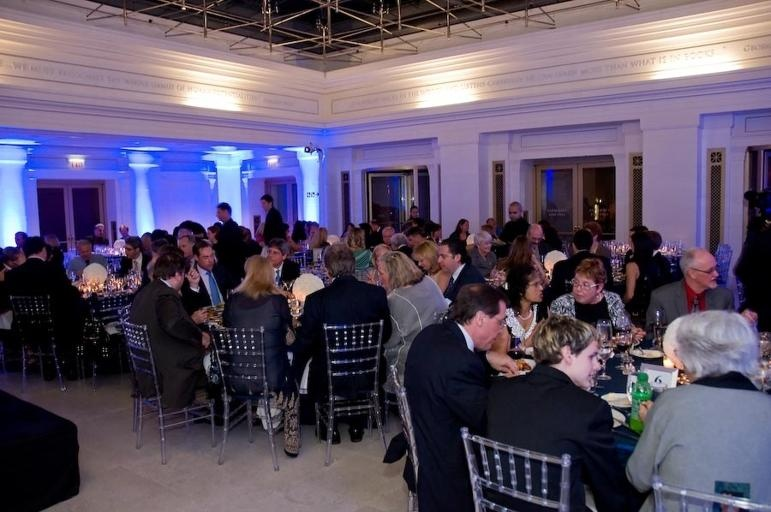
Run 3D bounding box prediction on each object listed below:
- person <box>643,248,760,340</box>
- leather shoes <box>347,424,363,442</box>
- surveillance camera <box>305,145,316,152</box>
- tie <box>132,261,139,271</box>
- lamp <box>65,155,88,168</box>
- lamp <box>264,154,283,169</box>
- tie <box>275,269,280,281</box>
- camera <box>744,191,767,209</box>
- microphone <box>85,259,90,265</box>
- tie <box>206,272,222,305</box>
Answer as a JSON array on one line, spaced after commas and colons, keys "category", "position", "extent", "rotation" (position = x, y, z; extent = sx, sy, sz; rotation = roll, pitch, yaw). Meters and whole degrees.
[{"category": "person", "position": [2.677, 0.584, 4.981], "extent": [0.794, 1.256, 0.633], "rotation": [-2, 4, 8]}, {"category": "leather shoes", "position": [-0.280, 1.710, 5.479], "extent": [0.169, 0.172, 0.101], "rotation": [-2, 0, -7]}, {"category": "surveillance camera", "position": [-1.677, -2.388, 12.785], "extent": [0.179, 0.132, 0.091], "rotation": [-8, 8, -37]}, {"category": "tie", "position": [-3.534, 0.147, 8.097], "extent": [0.082, 0.116, 0.030], "rotation": [-2, -23, -2]}, {"category": "lamp", "position": [-7.040, -2.133, 13.066], "extent": [0.401, 0.293, 0.090], "rotation": [-5, 4, -44]}, {"category": "lamp", "position": [-2.927, -2.433, 14.849], "extent": [0.471, 0.272, 0.350], "rotation": [5, -2, 41]}, {"category": "tie", "position": [-1.328, 0.244, 7.052], "extent": [0.101, 0.148, 0.043], "rotation": [1, -3, -34]}, {"category": "camera", "position": [4.529, -0.687, 6.998], "extent": [0.191, 0.233, 1.142], "rotation": [0, 3, 32]}, {"category": "microphone", "position": [-4.475, 0.100, 8.582], "extent": [0.063, 0.089, 0.026], "rotation": [8, -8, -3]}, {"category": "tie", "position": [-2.043, 0.405, 6.826], "extent": [0.087, 0.376, 0.265], "rotation": [-18, 14, -19]}]
